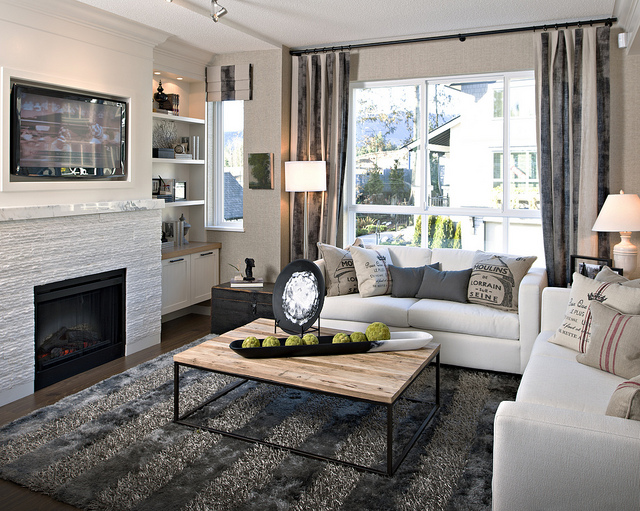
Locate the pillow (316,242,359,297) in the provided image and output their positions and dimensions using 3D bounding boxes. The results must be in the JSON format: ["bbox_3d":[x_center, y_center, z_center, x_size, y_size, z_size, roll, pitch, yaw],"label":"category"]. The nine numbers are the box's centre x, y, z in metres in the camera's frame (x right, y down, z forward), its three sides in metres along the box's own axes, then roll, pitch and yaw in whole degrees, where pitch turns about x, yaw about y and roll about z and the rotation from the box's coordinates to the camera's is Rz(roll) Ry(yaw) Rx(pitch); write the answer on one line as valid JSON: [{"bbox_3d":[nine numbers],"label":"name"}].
[{"bbox_3d":[0.229,0.153,4.970,0.299,0.543,0.689,7,6,25],"label":"pillow"}]

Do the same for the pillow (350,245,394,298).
[{"bbox_3d":[0.559,0.158,4.790,0.258,0.509,0.635,3,3,39],"label":"pillow"}]

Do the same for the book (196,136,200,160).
[{"bbox_3d":[-1.444,-1.281,5.759,0.042,0.277,0.128,-2,10,-11],"label":"book"}]

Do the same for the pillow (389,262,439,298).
[{"bbox_3d":[0.902,0.250,4.630,0.499,0.328,0.172,-3,2,9],"label":"pillow"}]

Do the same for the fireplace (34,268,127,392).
[{"bbox_3d":[-2.050,0.603,4.123,0.317,0.821,0.896,-7,1,33],"label":"fireplace"}]

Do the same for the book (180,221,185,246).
[{"bbox_3d":[-1.627,-0.267,5.736,0.050,0.270,0.077,-2,10,-10],"label":"book"}]

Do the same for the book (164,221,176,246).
[{"bbox_3d":[-1.736,-0.252,5.627,0.110,0.264,0.162,-1,9,-4],"label":"book"}]

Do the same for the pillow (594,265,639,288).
[{"bbox_3d":[2.001,0.152,3.282,0.168,0.059,0.174,-3,5,-34],"label":"pillow"}]

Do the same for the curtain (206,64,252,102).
[{"bbox_3d":[-1.032,-2.013,5.608,0.485,0.340,0.051,3,4,26],"label":"curtain"}]

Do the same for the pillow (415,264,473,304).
[{"bbox_3d":[1.169,0.267,4.511,0.455,0.318,0.176,5,4,32],"label":"pillow"}]

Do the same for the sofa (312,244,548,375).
[{"bbox_3d":[1.043,0.428,4.660,2.123,0.920,0.824,1,14,36],"label":"sofa"}]

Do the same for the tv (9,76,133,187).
[{"bbox_3d":[-2.010,-0.996,3.859,0.111,0.738,1.046,10,11,30],"label":"tv"}]
